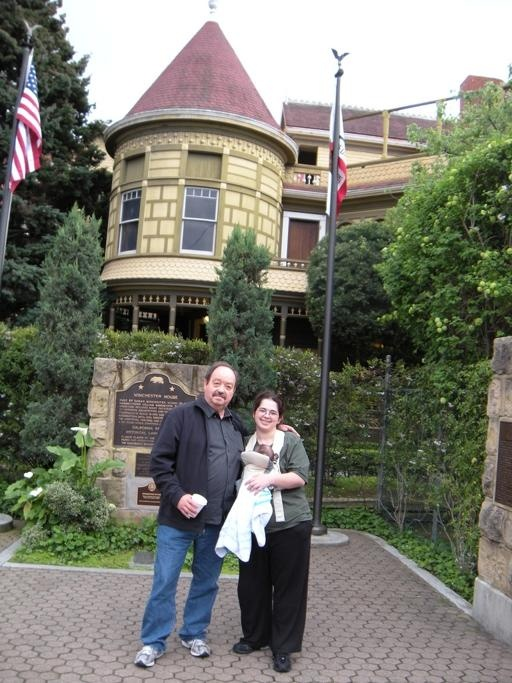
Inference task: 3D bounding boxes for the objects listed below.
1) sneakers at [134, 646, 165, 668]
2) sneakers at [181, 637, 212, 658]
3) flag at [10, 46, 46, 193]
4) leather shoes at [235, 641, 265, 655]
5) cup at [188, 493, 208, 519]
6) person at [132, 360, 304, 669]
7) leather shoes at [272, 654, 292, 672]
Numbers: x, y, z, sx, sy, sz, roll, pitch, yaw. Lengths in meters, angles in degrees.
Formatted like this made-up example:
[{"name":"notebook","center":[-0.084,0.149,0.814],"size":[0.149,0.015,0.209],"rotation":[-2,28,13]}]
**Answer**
[{"name":"sneakers","center":[-0.635,1.854,3.184],"size":[0.076,0.085,0.206],"rotation":[3,-10,19]},{"name":"sneakers","center":[-0.361,1.938,3.402],"size":[0.080,0.077,0.199],"rotation":[8,-18,-29]},{"name":"flag","center":[-3.529,-3.459,8.390],"size":[0.387,2.364,0.711],"rotation":[8,-11,-20]},{"name":"leather shoes","center":[-0.040,1.992,3.487],"size":[0.190,0.077,0.068],"rotation":[2,14,-6]},{"name":"cup","center":[-0.337,0.972,3.179],"size":[0.088,0.130,0.247],"rotation":[5,-10,-3]},{"name":"person","center":[-0.373,1.148,3.328],"size":[0.428,1.618,0.608],"rotation":[-3,-13,33]},{"name":"leather shoes","center":[0.161,1.927,3.198],"size":[0.055,0.059,0.131],"rotation":[2,-17,0]}]
